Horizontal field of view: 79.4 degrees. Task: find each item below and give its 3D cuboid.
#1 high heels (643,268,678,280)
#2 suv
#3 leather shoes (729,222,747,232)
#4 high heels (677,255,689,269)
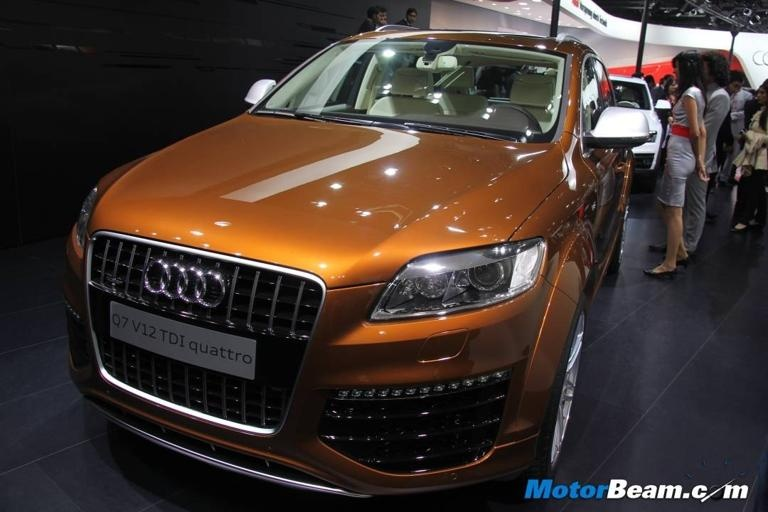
[{"bbox_3d":[2.743,0.167,4.646,0.323,0.118,0.117,6,9,10],"label":"high heels"},{"bbox_3d":[0.429,-0.709,3.550,2.587,1.787,4.704,15,27,24],"label":"suv"},{"bbox_3d":[4.814,-0.383,6.288,0.155,0.128,0.046,-7,-22,1],"label":"leather shoes"},{"bbox_3d":[3.196,0.059,4.928,0.132,0.116,0.099,13,-13,-37],"label":"high heels"}]
